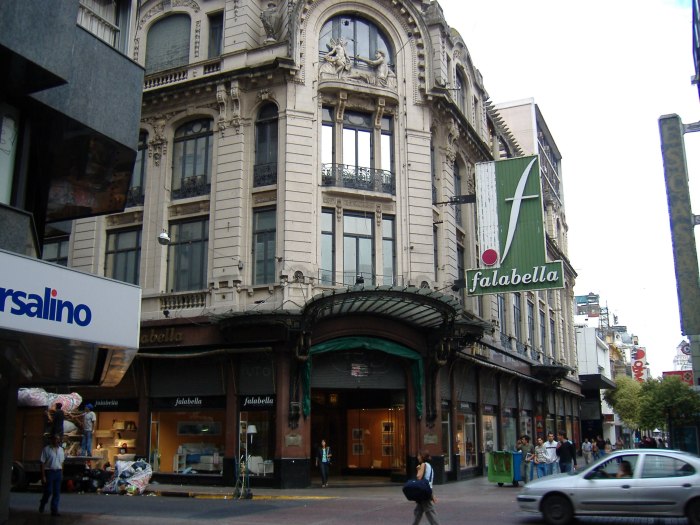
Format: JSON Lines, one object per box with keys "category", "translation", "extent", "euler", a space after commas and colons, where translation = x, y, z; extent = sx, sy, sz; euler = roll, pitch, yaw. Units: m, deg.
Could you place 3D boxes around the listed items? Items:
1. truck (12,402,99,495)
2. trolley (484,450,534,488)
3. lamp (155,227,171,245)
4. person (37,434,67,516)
{"category": "truck", "translation": [-9.966, 6.298, 24.444], "extent": [3.830, 3.102, 2.098], "euler": [-2, -12, 6]}
{"category": "trolley", "translation": [6.169, 8.381, 29.900], "extent": [1.445, 1.385, 1.489], "euler": [0, -11, 6]}
{"category": "lamp", "translation": [-7.890, -1.086, 30.572], "extent": [0.524, 0.554, 1.147], "euler": [-3, -12, -4]}
{"category": "person", "translation": [-8.175, 5.819, 19.936], "extent": [0.544, 2.125, 0.680], "euler": [6, -17, -23]}
